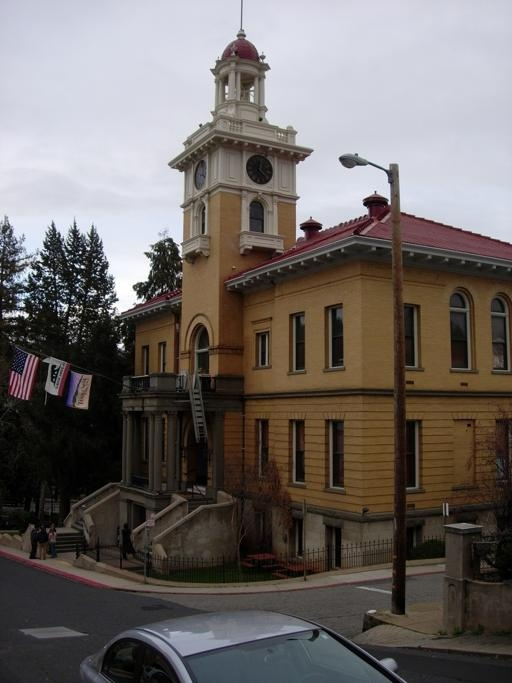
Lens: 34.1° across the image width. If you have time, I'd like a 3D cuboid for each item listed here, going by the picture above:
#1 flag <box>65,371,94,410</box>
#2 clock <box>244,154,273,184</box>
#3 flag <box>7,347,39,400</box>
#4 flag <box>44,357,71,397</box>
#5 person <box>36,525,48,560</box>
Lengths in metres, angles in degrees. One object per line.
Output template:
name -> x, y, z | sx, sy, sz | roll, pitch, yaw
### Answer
flag -> -6.345, 1.724, 29.744 | 0.709, 1.289, 1.763 | 6, -8, -14
clock -> 0.018, -6.785, 32.936 | 0.180, 1.279, 1.335 | -11, -3, 43
flag -> -8.173, 1.120, 29.328 | 0.741, 1.814, 1.577 | 9, -9, -31
flag -> -7.628, 1.347, 31.968 | 0.237, 1.799, 2.076 | 6, 0, -42
person -> -7.314, 6.854, 28.454 | 0.345, 1.218, 1.276 | 6, -8, -13
